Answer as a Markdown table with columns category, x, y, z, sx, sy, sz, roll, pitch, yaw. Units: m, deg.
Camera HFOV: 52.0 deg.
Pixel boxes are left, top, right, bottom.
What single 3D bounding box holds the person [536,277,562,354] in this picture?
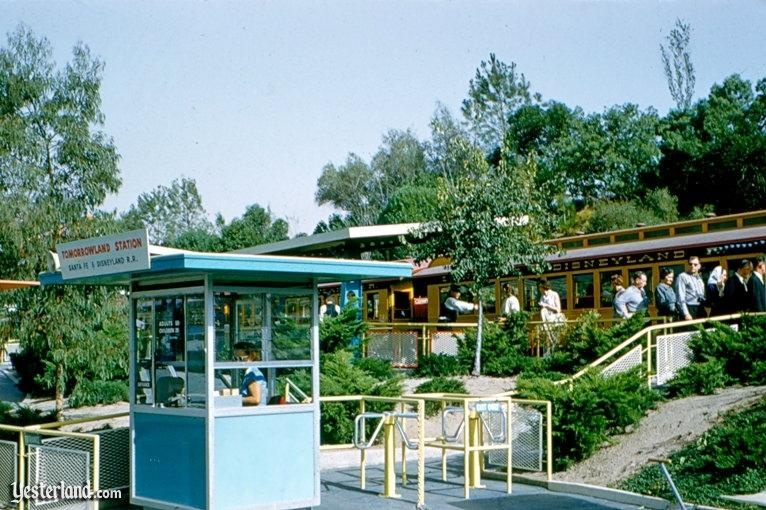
| category | x | y | z | sx | sy | sz | roll | pitch | yaw |
| --- | --- | --- | --- | --- | --- | --- | --- | --- | --- |
| person | 4.991 | 1.815 | 23.145 | 0.626 | 2.198 | 0.833 | -5 | -8 | 12 |

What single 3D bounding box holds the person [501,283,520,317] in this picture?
| category | x | y | z | sx | sy | sz | roll | pitch | yaw |
| --- | --- | --- | --- | --- | --- | --- | --- | --- | --- |
| person | 3.906 | 1.405 | 24.046 | 0.513 | 1.030 | 0.994 | -4 | -9 | 8 |

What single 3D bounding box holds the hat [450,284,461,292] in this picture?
| category | x | y | z | sx | sy | sz | roll | pitch | yaw |
| --- | --- | --- | --- | --- | --- | --- | --- | --- | --- |
| hat | 2.688 | 1.217 | 29.111 | 0.295 | 0.311 | 0.306 | 3 | 2 | 17 |

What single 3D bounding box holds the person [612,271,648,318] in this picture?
| category | x | y | z | sx | sy | sz | roll | pitch | yaw |
| --- | --- | --- | --- | --- | --- | --- | --- | --- | --- |
| person | 6.327 | 1.018 | 19.983 | 0.809 | 1.195 | 1.004 | -4 | -9 | 7 |

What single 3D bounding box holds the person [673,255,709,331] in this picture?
| category | x | y | z | sx | sy | sz | roll | pitch | yaw |
| --- | --- | --- | --- | --- | --- | --- | --- | --- | --- |
| person | 7.747 | 0.863 | 19.602 | 0.724 | 1.502 | 0.653 | -1 | -8 | -13 |
